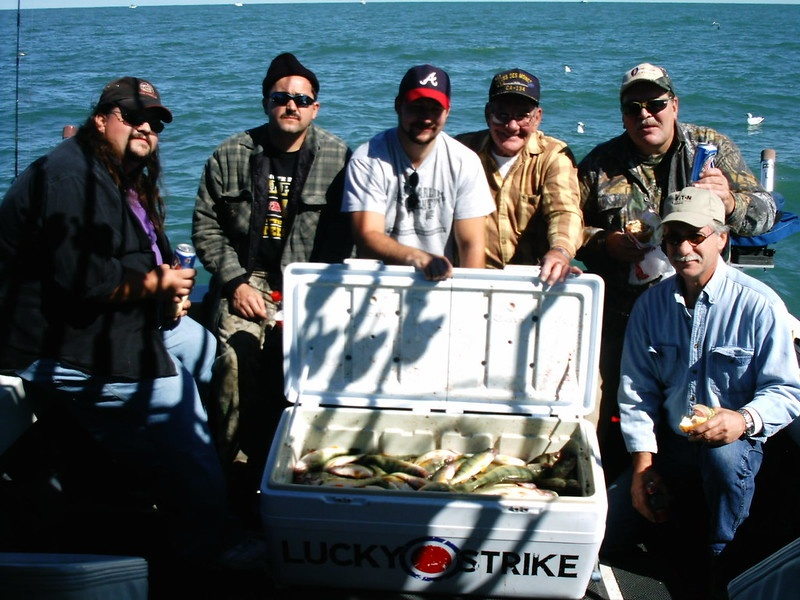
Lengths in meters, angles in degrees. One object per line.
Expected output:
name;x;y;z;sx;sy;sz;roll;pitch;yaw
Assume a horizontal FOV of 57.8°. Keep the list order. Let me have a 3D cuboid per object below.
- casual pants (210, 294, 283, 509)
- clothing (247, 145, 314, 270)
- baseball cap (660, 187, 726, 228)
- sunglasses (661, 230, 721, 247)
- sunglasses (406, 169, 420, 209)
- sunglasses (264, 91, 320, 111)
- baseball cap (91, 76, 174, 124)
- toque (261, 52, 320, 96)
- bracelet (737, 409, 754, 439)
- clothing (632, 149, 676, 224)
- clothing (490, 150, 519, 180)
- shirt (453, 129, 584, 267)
casual pants;-1.076;0.769;5.120;0.645;1.208;0.284;3;0;-37
clothing;-0.933;-0.710;5.601;0.503;0.880;0.219;5;-6;20
baseball cap;1.744;-0.549;4.288;0.353;0.228;0.300;5;13;16
sunglasses;1.696;-0.358;4.270;0.276;0.095;0.085;5;13;15
sunglasses;0.083;-0.748;4.966;0.123;0.214;0.065;0;9;11
sunglasses;-0.810;-1.487;5.409;0.332;0.114;0.126;-1;12;-9
baseball cap;-1.622;-1.234;4.452;0.382;0.196;0.280;4;3;24
toque;-0.853;-1.742;5.627;0.304;0.216;0.423;-1;-12;-4
bracelet;1.964;0.704;4.102;0.043;0.125;0.118;-3;-4;-1
clothing;1.902;-0.827;5.357;0.309;0.485;0.132;-2;-2;4
clothing;0.774;-1.009;5.502;0.182;0.184;0.178;25;57;23
shirt;0.830;-0.724;5.261;0.771;0.856;0.592;15;41;13
